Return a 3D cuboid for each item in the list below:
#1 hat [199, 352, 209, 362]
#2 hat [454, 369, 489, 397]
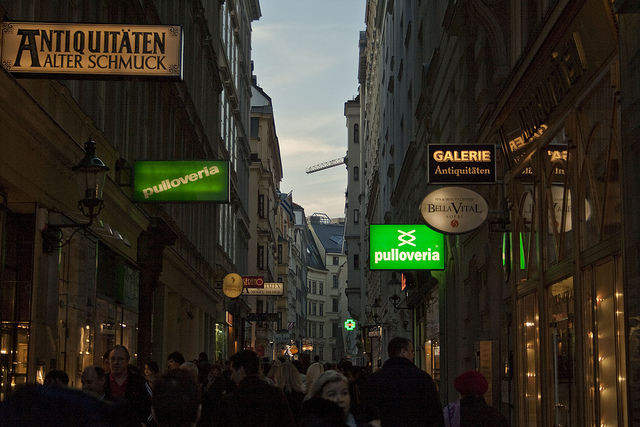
[{"bbox_3d":[-2.767,3.448,22.778,0.175,0.278,0.258,4,17,-6],"label":"hat"},{"bbox_3d":[2.097,2.356,13.315,0.433,0.460,0.580,-3,-22,7],"label":"hat"}]
